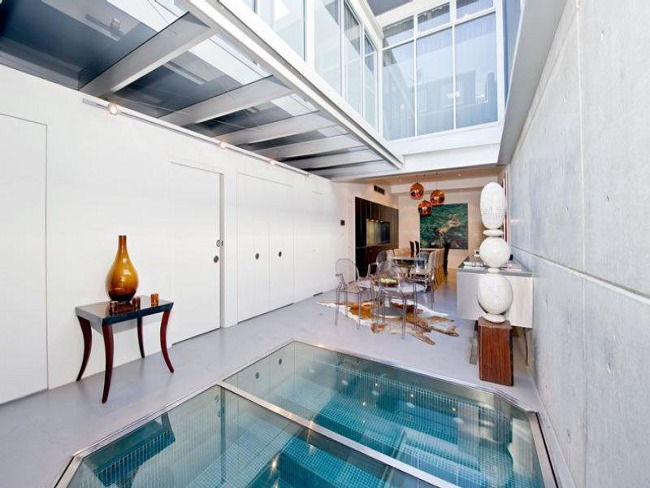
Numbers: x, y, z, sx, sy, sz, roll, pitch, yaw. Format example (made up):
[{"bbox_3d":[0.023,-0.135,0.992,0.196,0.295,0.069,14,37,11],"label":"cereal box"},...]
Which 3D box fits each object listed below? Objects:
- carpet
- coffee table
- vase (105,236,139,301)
[{"bbox_3d":[1.128,1.134,6.741,2.188,0.257,1.664,3,6,32],"label":"carpet"},{"bbox_3d":[-2.280,1.118,4.767,0.956,1.010,0.684,-5,6,-45],"label":"coffee table"},{"bbox_3d":[-2.301,0.286,4.687,0.307,0.762,0.232,-3,5,-35],"label":"vase"}]
